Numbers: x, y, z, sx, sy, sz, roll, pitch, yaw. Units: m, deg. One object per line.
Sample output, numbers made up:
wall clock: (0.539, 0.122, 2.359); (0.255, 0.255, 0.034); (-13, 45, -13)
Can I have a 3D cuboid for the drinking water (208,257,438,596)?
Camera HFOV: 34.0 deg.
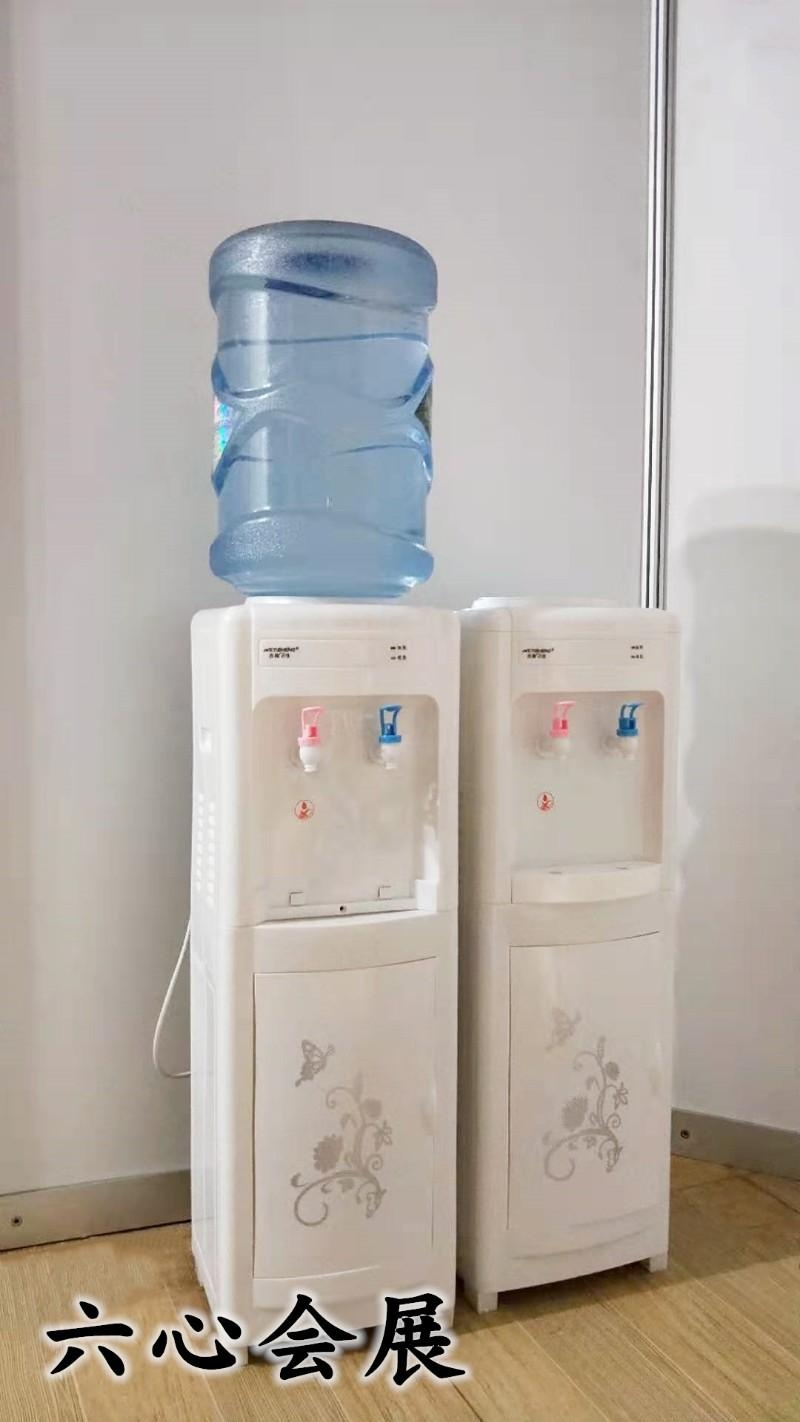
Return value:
drinking water: (-0.119, -0.442, 2.069); (0.382, 0.525, 0.327); (-2, -3, 36)
